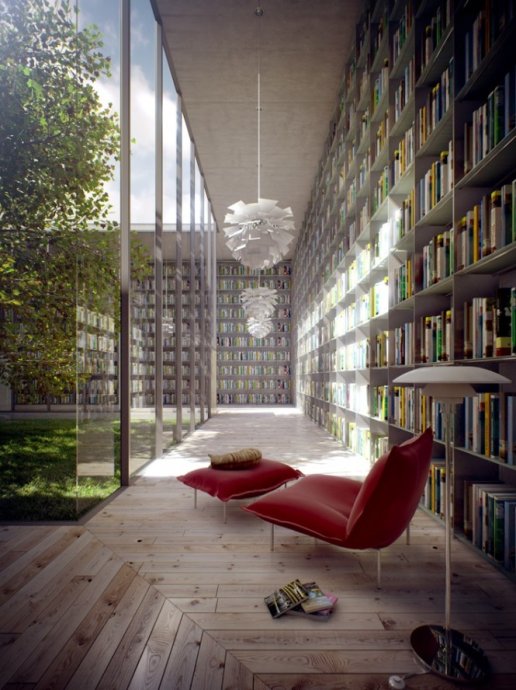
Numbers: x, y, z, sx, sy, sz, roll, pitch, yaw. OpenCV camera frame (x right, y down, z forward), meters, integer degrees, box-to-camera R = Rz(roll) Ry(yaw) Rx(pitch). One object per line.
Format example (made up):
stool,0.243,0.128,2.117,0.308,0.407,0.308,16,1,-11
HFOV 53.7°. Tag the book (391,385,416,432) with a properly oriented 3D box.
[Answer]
book,0.955,0.415,3.344,0.161,0.284,0.258,1,-3,3

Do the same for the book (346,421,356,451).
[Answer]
book,0.975,0.976,5.380,0.073,0.279,0.255,1,-6,4

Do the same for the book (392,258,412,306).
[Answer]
book,0.964,-0.422,3.412,0.148,0.329,0.304,1,-1,11

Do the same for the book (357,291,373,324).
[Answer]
book,0.972,-0.349,4.637,0.083,0.303,0.292,1,-4,2

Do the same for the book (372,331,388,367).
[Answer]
book,0.963,0.046,4.034,0.126,0.274,0.258,1,-2,5

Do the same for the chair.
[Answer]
chair,0.398,0.685,2.330,0.685,0.656,0.564,2,2,34

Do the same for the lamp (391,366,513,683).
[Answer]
lamp,0.721,0.527,1.875,0.425,0.900,0.963,0,-2,15

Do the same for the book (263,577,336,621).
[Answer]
book,0.156,0.946,1.898,0.270,0.049,0.244,0,-2,4

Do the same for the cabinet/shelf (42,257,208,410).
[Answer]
cabinet/shelf,-1.200,-0.095,4.459,1.091,1.936,0.471,1,6,-13

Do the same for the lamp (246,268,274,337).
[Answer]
lamp,0.080,-0.653,7.996,0.481,0.789,0.541,-12,-5,12

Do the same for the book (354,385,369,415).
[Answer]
book,0.970,0.520,4.778,0.085,0.334,0.273,2,-11,-2

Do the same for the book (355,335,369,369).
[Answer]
book,0.959,0.072,4.725,0.084,0.278,0.290,1,-2,6
